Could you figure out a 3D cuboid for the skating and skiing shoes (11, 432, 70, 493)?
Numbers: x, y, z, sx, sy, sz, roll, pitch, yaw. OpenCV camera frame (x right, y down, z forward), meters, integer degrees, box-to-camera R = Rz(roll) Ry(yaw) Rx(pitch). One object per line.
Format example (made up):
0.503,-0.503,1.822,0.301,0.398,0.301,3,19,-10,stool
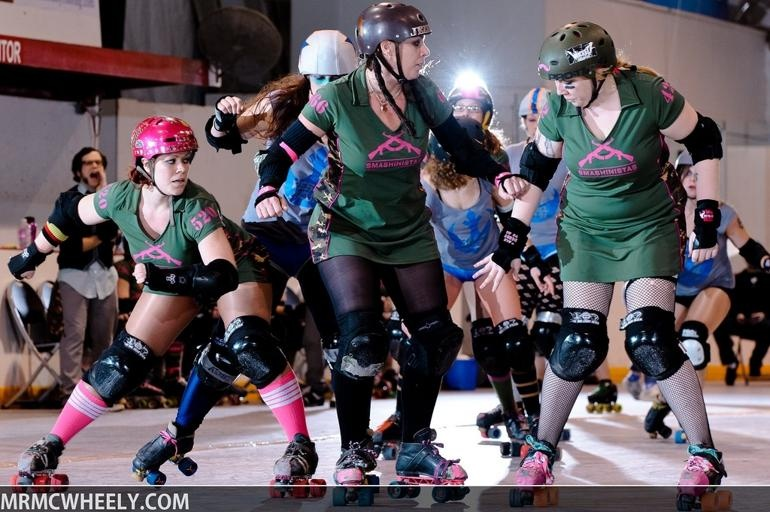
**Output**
-1.690,1.035,3.861,0.147,0.209,0.417,1,-9,3,skating and skiing shoes

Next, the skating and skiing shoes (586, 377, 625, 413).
1.958,1.244,7.079,0.309,0.286,0.176,-3,7,1,skating and skiing shoes

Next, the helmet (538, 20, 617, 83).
0.917,-0.981,3.762,0.319,0.272,0.261,2,2,-15,helmet

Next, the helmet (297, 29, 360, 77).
-0.316,-1.104,4.447,0.320,0.352,0.389,2,23,8,helmet

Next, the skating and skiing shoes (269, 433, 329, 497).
-0.431,1.054,3.946,0.194,0.268,0.388,-4,-8,16,skating and skiing shoes

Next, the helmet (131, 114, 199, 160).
-1.137,-0.579,4.090,0.362,0.299,0.287,7,14,35,helmet

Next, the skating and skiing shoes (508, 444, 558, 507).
0.692,1.016,3.683,0.210,0.268,0.173,0,-2,9,skating and skiing shoes

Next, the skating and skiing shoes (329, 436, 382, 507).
-0.145,1.021,3.759,0.210,0.272,0.269,0,-2,-4,skating and skiing shoes

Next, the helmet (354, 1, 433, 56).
0.037,-1.072,3.766,0.303,0.228,0.237,15,16,14,helmet
